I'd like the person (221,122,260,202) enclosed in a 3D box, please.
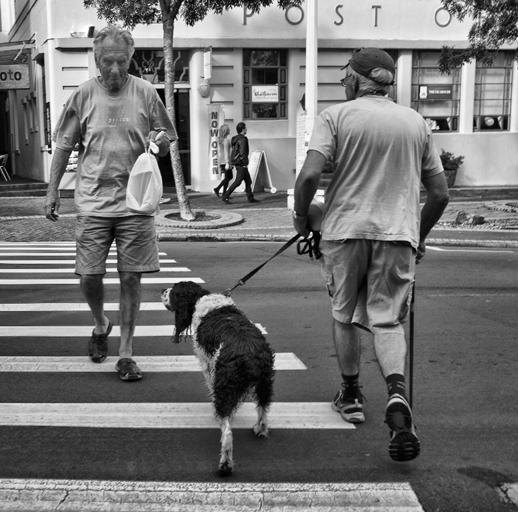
[{"bbox_3d":[-0.489,-2.287,20.035,0.758,1.989,1.313,-1,13,0],"label":"person"}]

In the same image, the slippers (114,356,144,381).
[{"bbox_3d":[-0.946,0.804,5.917,0.102,0.092,0.208,-2,6,-24],"label":"slippers"}]

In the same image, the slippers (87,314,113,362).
[{"bbox_3d":[-1.223,0.634,6.302,0.119,0.132,0.382,0,55,2],"label":"slippers"}]

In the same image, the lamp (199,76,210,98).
[{"bbox_3d":[-1.496,-4.591,22.348,0.328,0.523,0.414,-3,14,-8],"label":"lamp"}]

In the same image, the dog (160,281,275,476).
[{"bbox_3d":[-0.246,0.636,4.869,0.366,0.786,1.176,-6,16,-25],"label":"dog"}]

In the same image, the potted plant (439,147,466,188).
[{"bbox_3d":[5.447,-2.505,23.644,0.697,0.924,0.723,-4,10,0],"label":"potted plant"}]

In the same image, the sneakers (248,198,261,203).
[{"bbox_3d":[-0.142,-1.389,20.196,0.263,0.126,0.102,-1,13,-10],"label":"sneakers"}]

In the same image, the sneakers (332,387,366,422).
[{"bbox_3d":[0.573,0.920,5.157,0.106,0.151,0.307,0,9,-4],"label":"sneakers"}]

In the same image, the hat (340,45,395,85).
[{"bbox_3d":[0.640,-1.108,4.897,0.201,0.153,0.284,-1,36,-36],"label":"hat"}]

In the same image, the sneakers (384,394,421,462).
[{"bbox_3d":[0.760,0.901,4.390,0.140,0.387,0.166,-7,-4,13],"label":"sneakers"}]

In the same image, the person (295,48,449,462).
[{"bbox_3d":[0.719,-0.027,4.779,0.845,2.292,1.016,-10,16,-35],"label":"person"}]

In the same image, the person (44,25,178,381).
[{"bbox_3d":[-1.049,-0.365,5.871,0.933,2.480,0.630,-3,13,-7],"label":"person"}]
